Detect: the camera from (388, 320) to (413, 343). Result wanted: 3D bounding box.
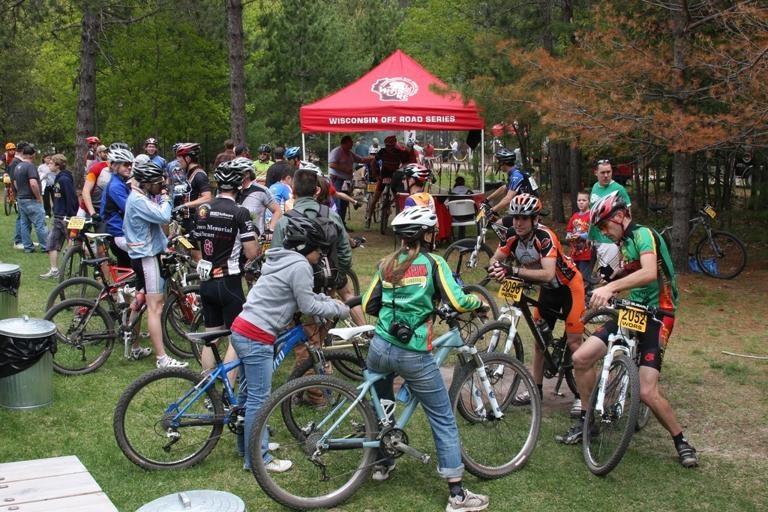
[{"bbox_3d":[0.168,0.787,6.888,0.240,0.224,0.094,2,8,4],"label":"camera"}]

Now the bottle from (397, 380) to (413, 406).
[{"bbox_3d":[0.219,1.444,7.216,0.152,0.329,0.386,1,8,2],"label":"bottle"}]

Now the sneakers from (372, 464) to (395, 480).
[{"bbox_3d":[-0.021,2.371,7.361,0.110,0.136,0.312,3,-1,33],"label":"sneakers"}]

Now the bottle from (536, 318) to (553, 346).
[{"bbox_3d":[2.029,0.967,8.569,0.151,0.444,0.135,-15,17,3],"label":"bottle"}]

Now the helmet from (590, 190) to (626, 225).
[{"bbox_3d":[2.688,-0.622,7.913,0.388,0.200,0.274,-13,11,17],"label":"helmet"}]

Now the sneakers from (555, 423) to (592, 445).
[{"bbox_3d":[2.257,2.143,8.043,0.470,0.228,0.176,-2,-4,3],"label":"sneakers"}]

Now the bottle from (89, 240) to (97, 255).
[{"bbox_3d":[-5.330,-0.154,12.276,0.091,0.253,0.177,-27,18,-13],"label":"bottle"}]

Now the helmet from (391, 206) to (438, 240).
[{"bbox_3d":[0.331,-0.345,7.017,0.307,0.222,0.428,3,6,29],"label":"helmet"}]

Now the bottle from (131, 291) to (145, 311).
[{"bbox_3d":[-3.567,0.652,9.755,0.198,0.283,0.103,5,-2,11],"label":"bottle"}]

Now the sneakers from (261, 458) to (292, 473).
[{"bbox_3d":[-1.147,2.231,7.176,0.294,0.132,0.118,0,20,-18],"label":"sneakers"}]

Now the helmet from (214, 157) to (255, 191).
[{"bbox_3d":[-1.882,-1.050,8.441,0.347,0.434,0.457,20,42,37],"label":"helmet"}]

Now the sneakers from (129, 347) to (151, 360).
[{"bbox_3d":[-3.607,1.427,9.985,0.125,0.165,0.356,5,12,22],"label":"sneakers"}]

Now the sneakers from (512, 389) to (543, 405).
[{"bbox_3d":[1.794,1.755,8.356,0.485,0.249,0.162,8,-6,-35],"label":"sneakers"}]

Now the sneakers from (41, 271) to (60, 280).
[{"bbox_3d":[-6.823,0.396,13.742,0.426,0.206,0.157,-1,5,5],"label":"sneakers"}]

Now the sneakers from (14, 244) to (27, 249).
[{"bbox_3d":[-9.081,-0.228,16.755,0.371,0.162,0.150,2,5,37],"label":"sneakers"}]
